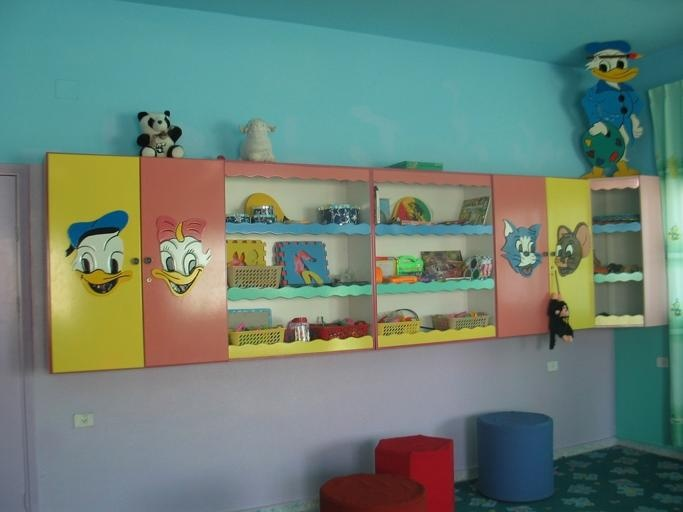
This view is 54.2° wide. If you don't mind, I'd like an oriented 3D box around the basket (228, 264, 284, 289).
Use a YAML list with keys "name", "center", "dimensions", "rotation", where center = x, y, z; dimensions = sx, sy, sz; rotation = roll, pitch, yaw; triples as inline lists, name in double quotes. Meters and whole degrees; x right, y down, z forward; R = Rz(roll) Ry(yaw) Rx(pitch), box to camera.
- name: "basket"
  center: [-0.568, 0.139, 4.423]
  dimensions: [0.242, 0.109, 0.158]
  rotation: [-1, -3, -19]

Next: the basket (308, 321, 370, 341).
- name: "basket"
  center: [-0.016, 0.520, 4.614]
  dimensions: [0.246, 0.076, 0.171]
  rotation: [-1, -1, -26]

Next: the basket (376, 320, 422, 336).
- name: "basket"
  center: [0.405, 0.493, 4.745]
  dimensions: [0.198, 0.067, 0.127]
  rotation: [-2, -1, -22]

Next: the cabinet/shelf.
- name: "cabinet/shelf"
  center: [0.193, -0.023, 4.754]
  dimensions: [4.171, 1.400, 0.580]
  rotation: [-3, 1, -14]
